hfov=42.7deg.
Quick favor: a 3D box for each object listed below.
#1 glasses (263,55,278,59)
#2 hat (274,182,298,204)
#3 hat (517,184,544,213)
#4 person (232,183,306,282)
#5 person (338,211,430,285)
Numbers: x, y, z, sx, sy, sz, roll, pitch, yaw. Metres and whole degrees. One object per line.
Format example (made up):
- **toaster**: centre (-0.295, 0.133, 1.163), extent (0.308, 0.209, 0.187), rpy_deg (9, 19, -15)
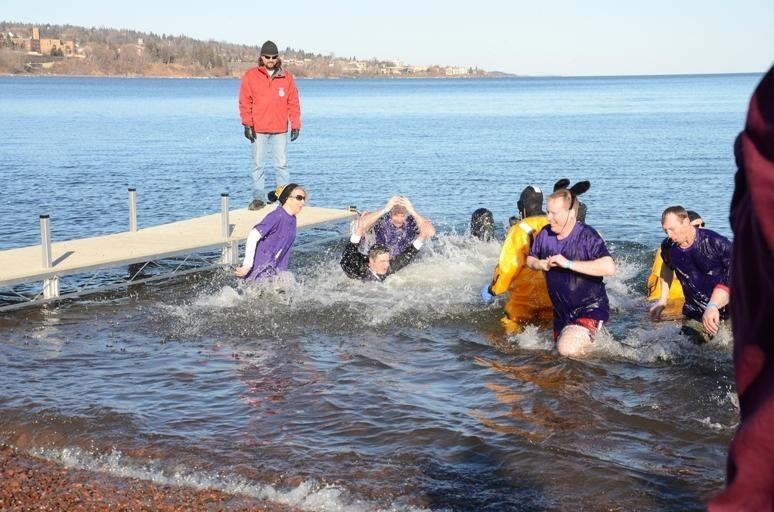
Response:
- **glasses**: centre (-2.477, -4.303, 21.300), extent (0.340, 0.088, 0.206), rpy_deg (-6, 15, -26)
- **hat**: centre (-1.822, -1.173, 18.198), extent (0.322, 0.393, 0.647), rpy_deg (-3, 14, -14)
- **hat**: centre (2.702, -1.055, 18.136), extent (0.434, 0.501, 0.546), rpy_deg (-2, 36, -13)
- **person**: centre (-2.089, -0.441, 18.051), extent (1.311, 1.755, 0.583), rpy_deg (-13, 20, -42)
- **person**: centre (-0.136, -0.149, 18.926), extent (1.496, 0.559, 1.220), rpy_deg (-19, -5, 13)
